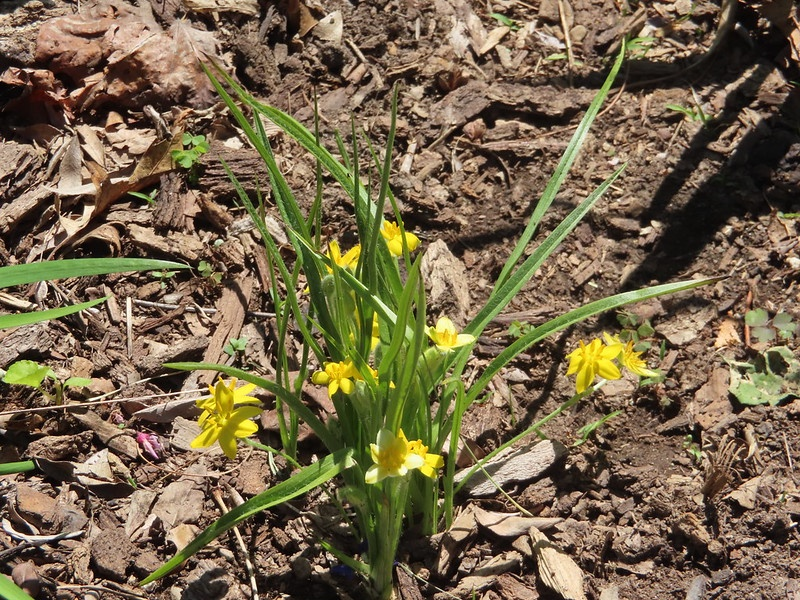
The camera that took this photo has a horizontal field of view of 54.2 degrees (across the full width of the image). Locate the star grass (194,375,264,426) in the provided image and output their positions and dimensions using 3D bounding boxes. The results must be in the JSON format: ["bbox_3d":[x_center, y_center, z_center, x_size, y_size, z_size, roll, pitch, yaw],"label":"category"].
[{"bbox_3d":[-0.633,0.377,2.911,0.217,0.251,0.283,-3,7,1],"label":"star grass"}]

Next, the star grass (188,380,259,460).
[{"bbox_3d":[-0.603,0.382,2.867,0.297,0.326,0.285,-3,12,-6],"label":"star grass"}]
